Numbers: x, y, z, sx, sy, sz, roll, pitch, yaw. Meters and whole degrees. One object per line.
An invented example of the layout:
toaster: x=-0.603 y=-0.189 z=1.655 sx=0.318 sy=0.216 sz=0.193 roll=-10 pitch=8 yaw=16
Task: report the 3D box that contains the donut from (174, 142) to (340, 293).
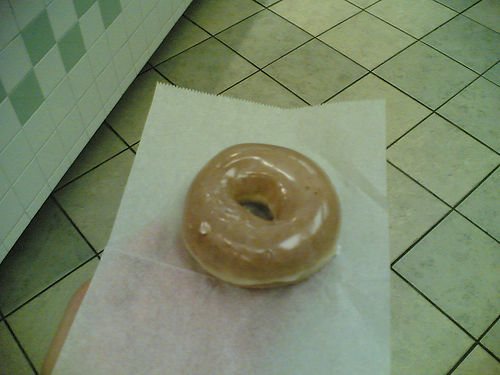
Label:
donut: x=0.035 y=0.085 z=1.360 sx=0.420 sy=0.184 sz=0.485 roll=11 pitch=45 yaw=3
